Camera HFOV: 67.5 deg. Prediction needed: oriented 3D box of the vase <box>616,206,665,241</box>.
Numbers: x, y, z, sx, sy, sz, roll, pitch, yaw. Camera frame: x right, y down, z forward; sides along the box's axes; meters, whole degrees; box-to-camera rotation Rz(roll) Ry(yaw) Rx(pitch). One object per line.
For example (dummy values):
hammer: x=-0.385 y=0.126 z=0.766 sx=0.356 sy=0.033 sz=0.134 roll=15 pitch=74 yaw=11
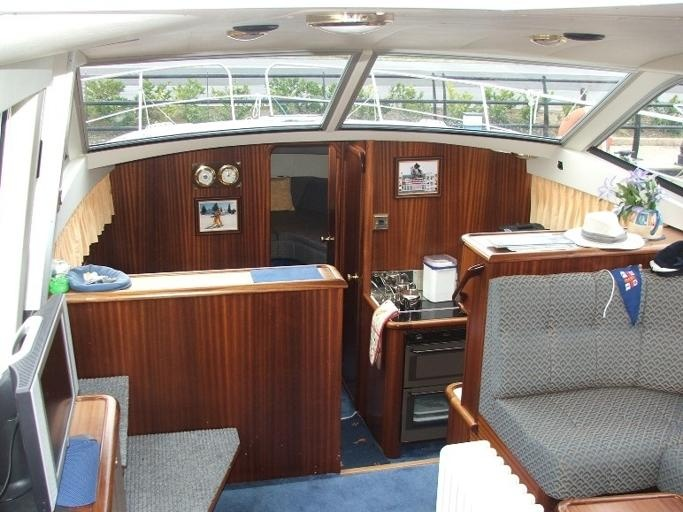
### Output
vase: x=1.889 y=-0.205 z=3.242 sx=0.220 sy=0.174 sz=0.216 roll=4 pitch=14 yaw=23

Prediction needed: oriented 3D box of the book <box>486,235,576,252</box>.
book: x=1.083 y=-0.071 z=2.980 sx=0.546 sy=0.071 sz=0.282 roll=-3 pitch=7 yaw=-7

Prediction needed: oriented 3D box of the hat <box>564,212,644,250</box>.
hat: x=1.506 y=-0.123 z=2.999 sx=0.307 sy=0.103 sz=0.301 roll=-14 pitch=21 yaw=-35
